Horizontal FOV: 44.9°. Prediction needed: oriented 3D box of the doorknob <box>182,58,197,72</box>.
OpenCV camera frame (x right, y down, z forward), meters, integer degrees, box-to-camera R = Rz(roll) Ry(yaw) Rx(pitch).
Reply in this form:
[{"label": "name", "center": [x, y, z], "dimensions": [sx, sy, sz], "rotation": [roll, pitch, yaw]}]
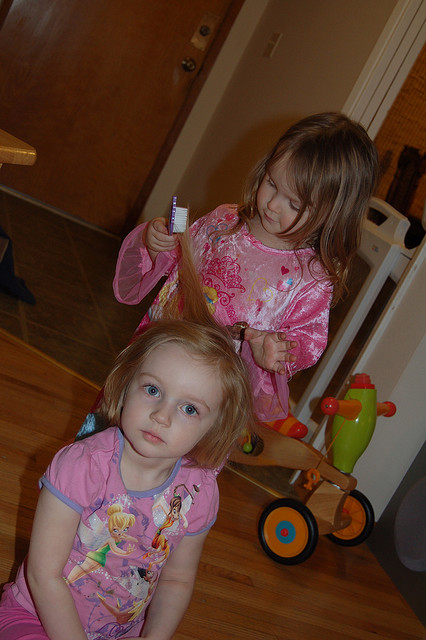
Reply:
[{"label": "doorknob", "center": [-0.143, -1.547, 3.119], "dimensions": [0.066, 0.065, 0.023], "rotation": [-1, 14, -8]}]
